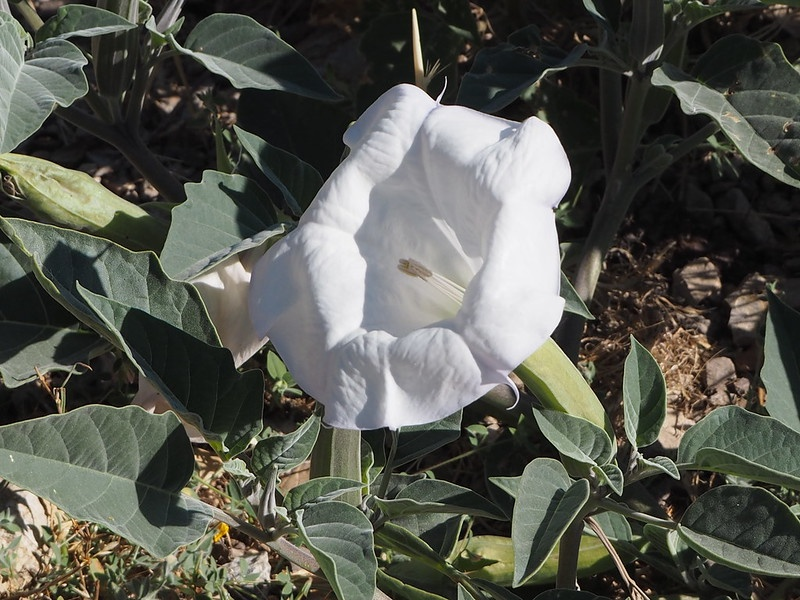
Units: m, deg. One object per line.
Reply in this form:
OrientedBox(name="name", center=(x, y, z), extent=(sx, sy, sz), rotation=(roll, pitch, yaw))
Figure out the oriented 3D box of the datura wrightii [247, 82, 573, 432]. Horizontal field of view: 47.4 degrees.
OrientedBox(name="datura wrightii", center=(0.032, -0.075, 1.346), extent=(0.445, 0.461, 0.370), rotation=(17, 18, 42))
